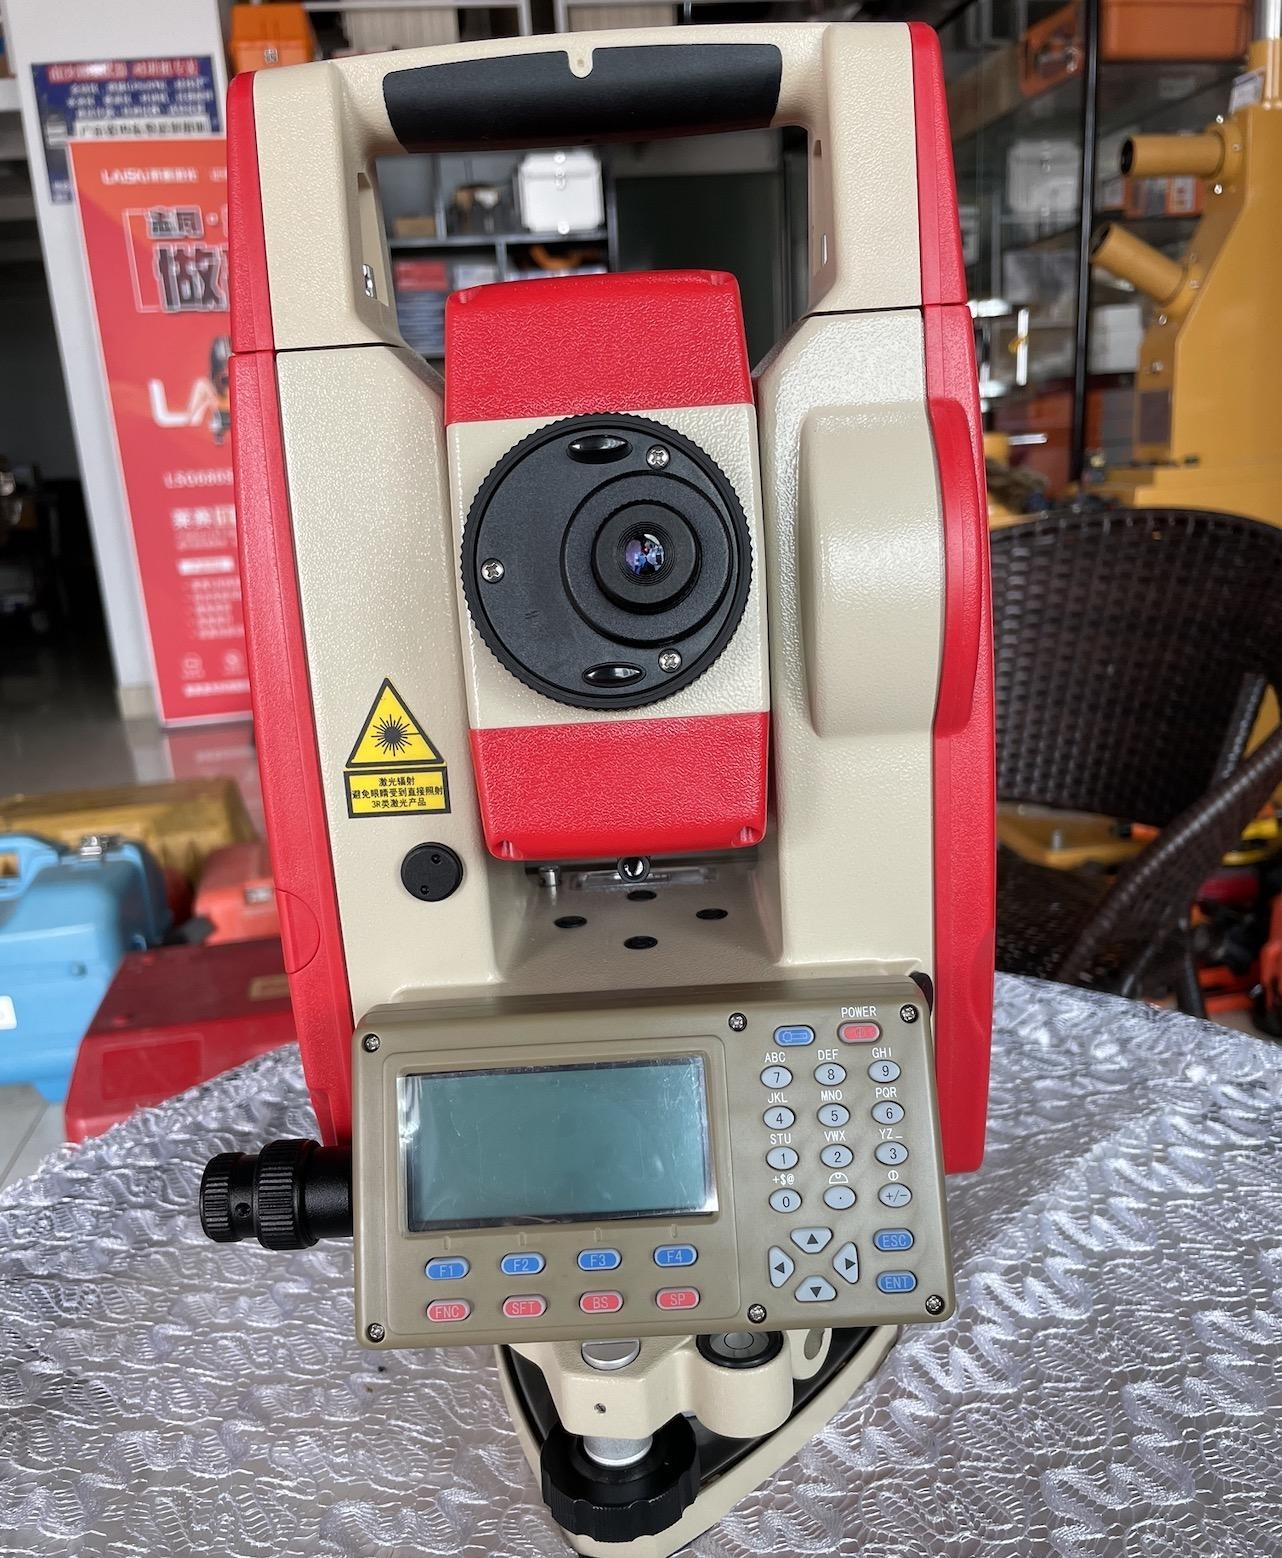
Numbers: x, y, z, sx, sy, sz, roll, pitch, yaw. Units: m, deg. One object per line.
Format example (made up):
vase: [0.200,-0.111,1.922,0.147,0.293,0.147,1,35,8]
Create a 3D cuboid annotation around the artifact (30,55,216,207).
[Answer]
artifact: [-1.460,-1.866,4.066,0.507,0.364,0.136,-2,33,0]
